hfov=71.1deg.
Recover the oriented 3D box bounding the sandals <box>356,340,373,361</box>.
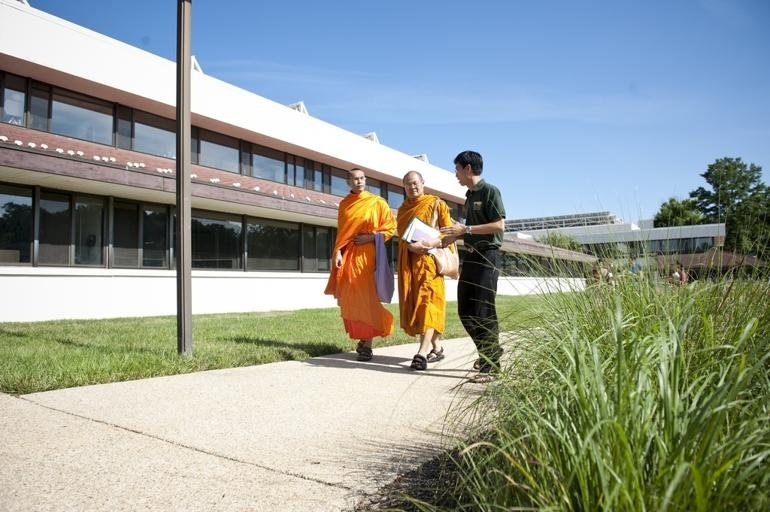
[{"bbox_3d":[-0.240,1.088,6.242,0.169,0.218,0.274,1,2,-2],"label":"sandals"}]

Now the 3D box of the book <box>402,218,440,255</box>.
[{"bbox_3d":[0.387,-0.236,5.824,0.401,0.347,0.220,1,3,2],"label":"book"}]

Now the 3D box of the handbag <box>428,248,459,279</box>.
[{"bbox_3d":[0.677,-0.002,5.934,0.308,0.433,0.157,-14,31,-2],"label":"handbag"}]

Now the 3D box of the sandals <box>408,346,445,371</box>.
[{"bbox_3d":[0.470,1.114,5.824,0.182,0.213,0.565,-5,-10,20],"label":"sandals"}]

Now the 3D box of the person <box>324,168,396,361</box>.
[{"bbox_3d":[-0.296,0.077,6.419,0.814,2.278,0.684,1,3,9],"label":"person"}]

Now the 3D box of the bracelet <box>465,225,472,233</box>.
[{"bbox_3d":[0.807,-0.256,5.270,0.049,0.073,0.077,9,31,12],"label":"bracelet"}]
